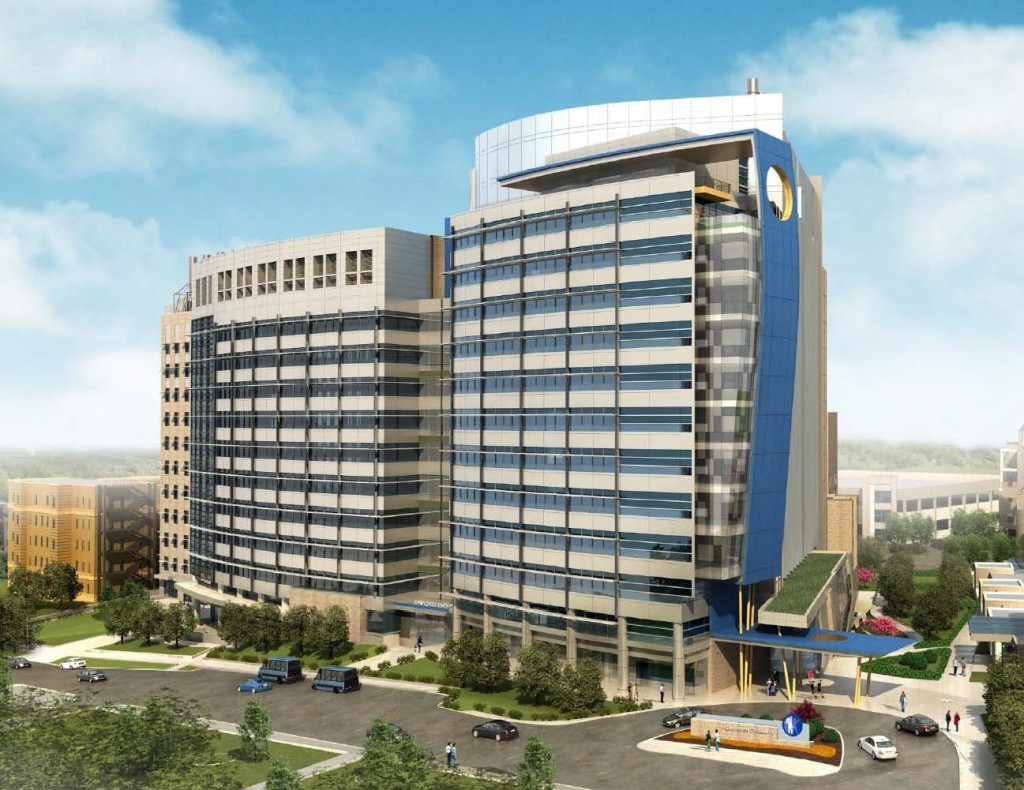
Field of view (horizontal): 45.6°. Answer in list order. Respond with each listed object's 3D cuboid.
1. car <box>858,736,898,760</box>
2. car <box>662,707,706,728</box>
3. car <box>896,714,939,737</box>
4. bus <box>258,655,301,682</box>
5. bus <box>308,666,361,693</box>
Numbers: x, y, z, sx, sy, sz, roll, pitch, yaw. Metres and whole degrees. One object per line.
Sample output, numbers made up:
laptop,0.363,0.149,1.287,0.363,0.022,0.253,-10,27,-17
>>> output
car,36.699,35.342,123.743,3.069,2.042,2.817,1,-7,-6
car,17.731,34.494,131.671,4.138,1.905,3.210,-1,-7,8
car,42.128,34.679,129.597,3.130,1.288,2.035,7,8,39
bus,-28.730,33.468,150.806,4.359,2.192,2.807,2,-1,30
bus,-21.141,33.716,146.675,4.325,2.030,3.047,2,-1,28
